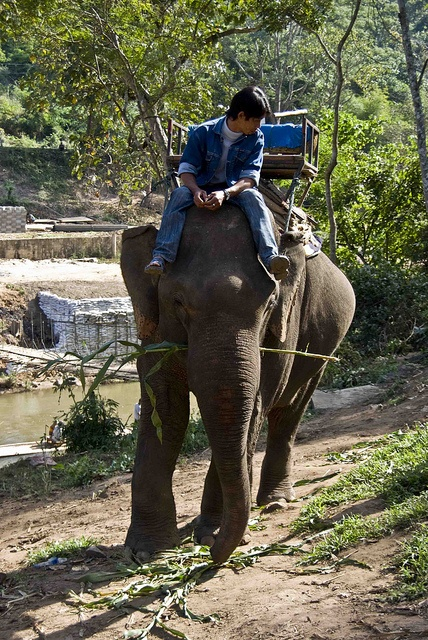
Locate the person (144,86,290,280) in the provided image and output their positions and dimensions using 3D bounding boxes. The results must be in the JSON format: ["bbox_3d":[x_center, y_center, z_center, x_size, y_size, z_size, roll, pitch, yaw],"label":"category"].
[{"bbox_3d":[0.010,-0.632,3.441,0.522,0.870,0.530,0,-1,1],"label":"person"}]

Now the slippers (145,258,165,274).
[{"bbox_3d":[-0.258,-0.230,3.215,0.045,0.043,0.105,12,-21,1],"label":"slippers"}]

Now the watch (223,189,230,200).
[{"bbox_3d":[0.053,-0.556,3.359,0.034,0.043,0.040,4,30,-5],"label":"watch"}]

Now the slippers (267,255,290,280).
[{"bbox_3d":[0.273,-0.222,3.177,0.071,0.040,0.116,-16,-20,-4],"label":"slippers"}]
